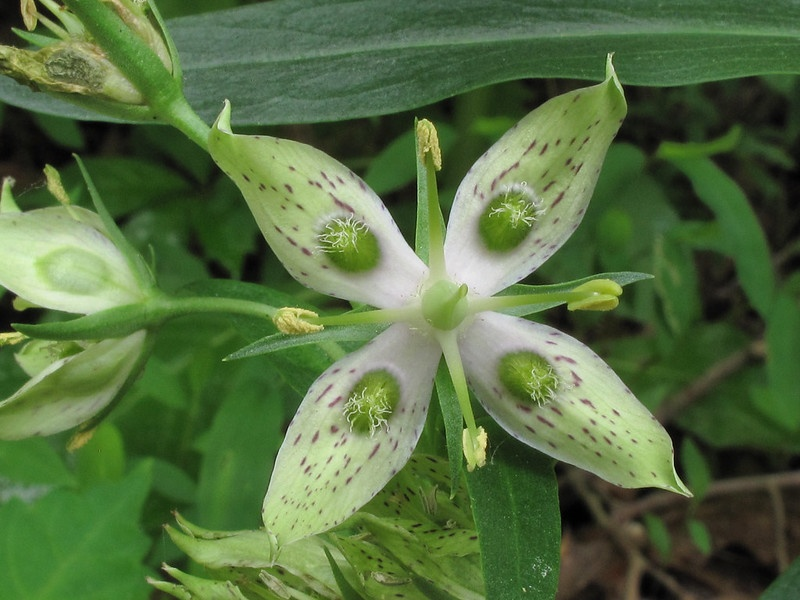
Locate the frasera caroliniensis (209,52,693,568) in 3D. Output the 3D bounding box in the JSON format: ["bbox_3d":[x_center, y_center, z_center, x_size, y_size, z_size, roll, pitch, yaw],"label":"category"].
[{"bbox_3d":[0.063,0.004,1.204,0.536,0.567,0.592,-9,-48,21],"label":"frasera caroliniensis"}]
